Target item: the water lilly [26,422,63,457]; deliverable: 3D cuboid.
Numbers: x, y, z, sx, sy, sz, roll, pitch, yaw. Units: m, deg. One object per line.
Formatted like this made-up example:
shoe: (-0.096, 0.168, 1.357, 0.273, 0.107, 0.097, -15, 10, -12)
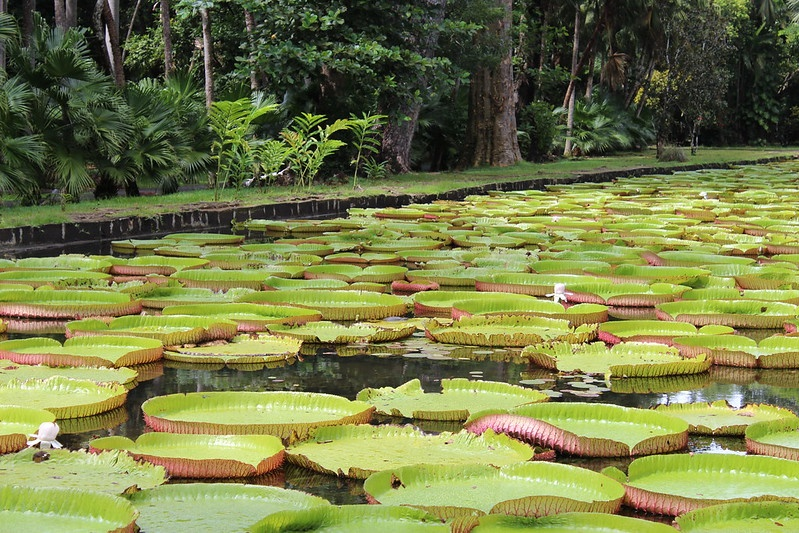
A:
water lilly: (-1.890, 0.923, 6.328, 0.186, 0.165, 0.097, 12, -22, -8)
